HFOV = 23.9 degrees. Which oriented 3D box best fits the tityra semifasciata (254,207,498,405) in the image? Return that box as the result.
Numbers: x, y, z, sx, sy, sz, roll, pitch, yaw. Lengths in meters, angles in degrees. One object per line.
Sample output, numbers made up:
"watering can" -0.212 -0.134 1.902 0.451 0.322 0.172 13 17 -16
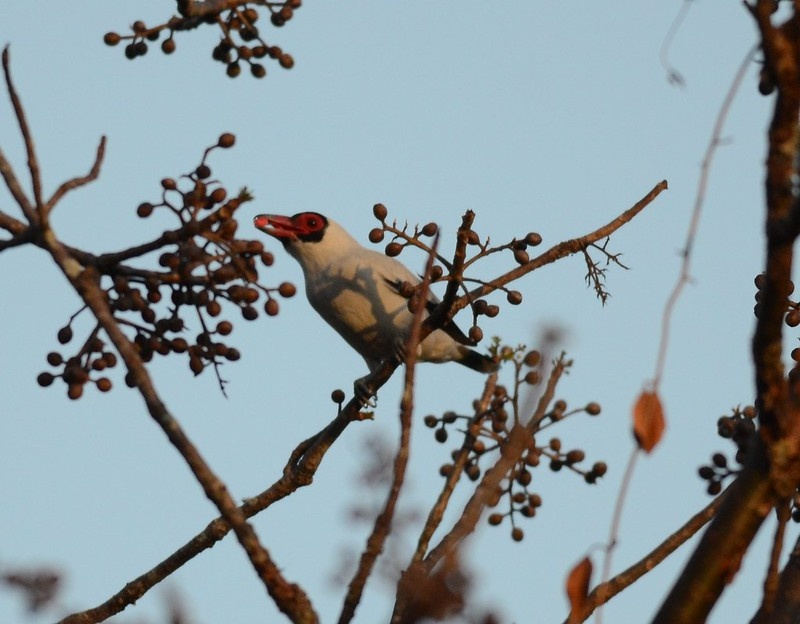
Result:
"tityra semifasciata" -0.068 -0.028 9.710 1.225 0.929 0.491 5 -19 -28
